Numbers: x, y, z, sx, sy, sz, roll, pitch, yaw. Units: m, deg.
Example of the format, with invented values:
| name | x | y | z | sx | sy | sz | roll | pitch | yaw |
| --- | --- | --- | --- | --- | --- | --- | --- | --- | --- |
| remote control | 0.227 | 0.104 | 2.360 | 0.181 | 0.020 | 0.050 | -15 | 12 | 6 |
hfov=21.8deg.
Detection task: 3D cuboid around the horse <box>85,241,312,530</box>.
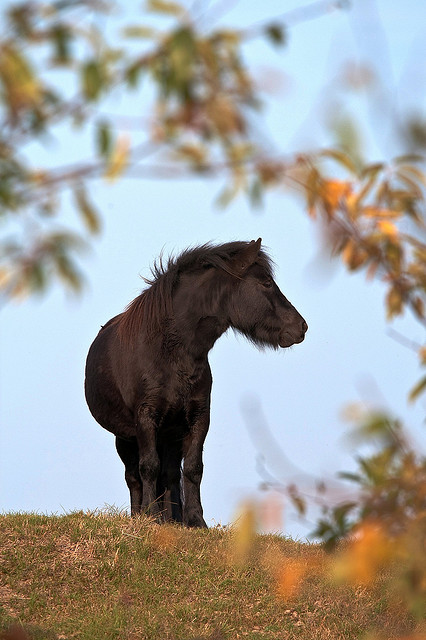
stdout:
| name | x | y | z | sx | sy | sz | roll | pitch | yaw |
| --- | --- | --- | --- | --- | --- | --- | --- | --- | --- |
| horse | -0.296 | 0.654 | 8.909 | 1.169 | 2.172 | 3.079 | 5 | -15 | -21 |
